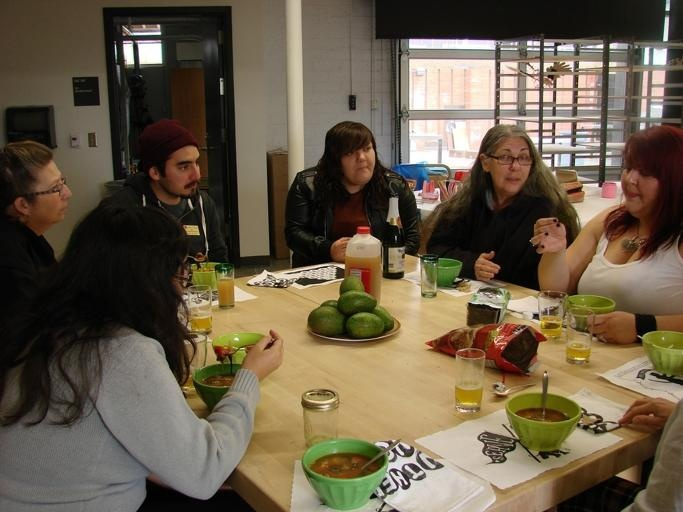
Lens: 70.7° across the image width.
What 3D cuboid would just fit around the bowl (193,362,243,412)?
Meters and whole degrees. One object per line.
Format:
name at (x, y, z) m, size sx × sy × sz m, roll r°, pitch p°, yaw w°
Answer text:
bowl at (-0.343, 0.346, 1.280) m, size 0.134 × 0.065 × 0.123 m, roll -1°, pitch 6°, yaw 0°

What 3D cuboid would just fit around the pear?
pear at (0.025, 0.188, 1.688) m, size 0.216 × 0.096 × 0.216 m, roll 2°, pitch 23°, yaw 26°

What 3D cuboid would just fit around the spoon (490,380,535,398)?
spoon at (0.482, 0.370, 1.360) m, size 0.175 × 0.023 × 0.038 m, roll 2°, pitch 5°, yaw -37°

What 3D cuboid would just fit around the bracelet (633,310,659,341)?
bracelet at (1.019, 0.241, 1.625) m, size 0.088 × 0.090 × 0.098 m, roll -1°, pitch 1°, yaw -34°

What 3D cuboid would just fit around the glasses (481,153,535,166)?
glasses at (0.904, -0.511, 2.596) m, size 0.226 × 0.066 × 0.073 m, roll -2°, pitch 12°, yaw 9°

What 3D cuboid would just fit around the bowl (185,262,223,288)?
bowl at (-0.619, 0.085, 2.156) m, size 0.182 × 0.109 × 0.167 m, roll 0°, pitch 6°, yaw 0°

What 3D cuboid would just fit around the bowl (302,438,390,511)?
bowl at (0.011, 0.438, 0.961) m, size 0.142 × 0.096 × 0.151 m, roll -4°, pitch 12°, yaw 1°

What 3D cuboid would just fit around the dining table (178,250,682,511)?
dining table at (0.105, 0.367, 1.416) m, size 0.682 × 0.208 × 0.953 m, roll -5°, pitch 10°, yaw -33°

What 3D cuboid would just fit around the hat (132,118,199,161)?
hat at (-1.047, -0.646, 2.804) m, size 0.286 × 0.205 × 0.286 m, roll -31°, pitch 24°, yaw -25°

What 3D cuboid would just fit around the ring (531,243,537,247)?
ring at (0.913, -0.049, 2.298) m, size 0.022 × 0.018 × 0.020 m, roll -3°, pitch 12°, yaw -4°

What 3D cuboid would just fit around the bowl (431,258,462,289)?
bowl at (0.490, 0.082, 2.260) m, size 0.141 × 0.087 × 0.133 m, roll 0°, pitch 4°, yaw 0°

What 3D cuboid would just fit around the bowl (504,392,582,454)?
bowl at (0.456, 0.371, 1.101) m, size 0.151 × 0.077 × 0.138 m, roll -1°, pitch 8°, yaw 0°

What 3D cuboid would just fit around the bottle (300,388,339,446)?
bottle at (-0.048, 0.378, 1.110) m, size 0.085 × 0.122 × 0.065 m, roll -5°, pitch 13°, yaw -2°

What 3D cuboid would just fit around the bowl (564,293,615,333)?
bowl at (0.901, 0.207, 1.745) m, size 0.128 × 0.062 × 0.121 m, roll -4°, pitch 11°, yaw 1°

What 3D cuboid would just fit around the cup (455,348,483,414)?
cup at (0.335, 0.324, 1.269) m, size 0.076 × 0.155 × 0.123 m, roll -2°, pitch 13°, yaw 13°
